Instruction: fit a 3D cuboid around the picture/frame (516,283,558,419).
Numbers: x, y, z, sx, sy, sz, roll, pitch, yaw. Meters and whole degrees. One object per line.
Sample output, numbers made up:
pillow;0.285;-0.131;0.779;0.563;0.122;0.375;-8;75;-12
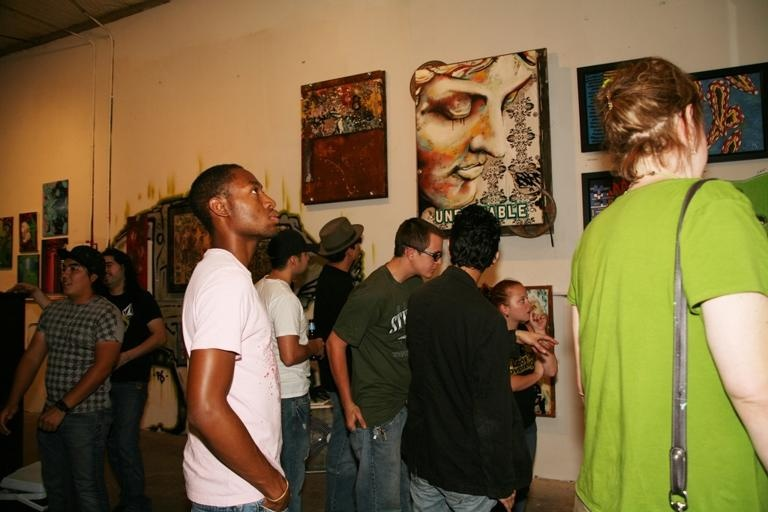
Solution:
picture/frame;1.473;0.982;6.741;0.042;1.366;0.955;5;-10;-22

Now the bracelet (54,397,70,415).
bracelet;-2.611;1.215;5.242;0.138;0.067;0.100;38;-7;-9

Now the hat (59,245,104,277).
hat;-2.573;0.026;5.570;0.261;0.133;0.317;18;-13;35

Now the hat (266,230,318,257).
hat;-0.816;-0.113;5.657;0.318;0.167;0.230;-13;10;-22

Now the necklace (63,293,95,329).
necklace;-2.572;0.508;5.537;0.211;0.228;0.155;-9;-19;14

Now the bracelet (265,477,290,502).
bracelet;-0.641;1.434;3.977;0.069;0.118;0.185;-5;-3;40

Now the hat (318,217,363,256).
hat;-0.382;-0.147;6.327;0.401;0.135;0.353;-35;32;-17
